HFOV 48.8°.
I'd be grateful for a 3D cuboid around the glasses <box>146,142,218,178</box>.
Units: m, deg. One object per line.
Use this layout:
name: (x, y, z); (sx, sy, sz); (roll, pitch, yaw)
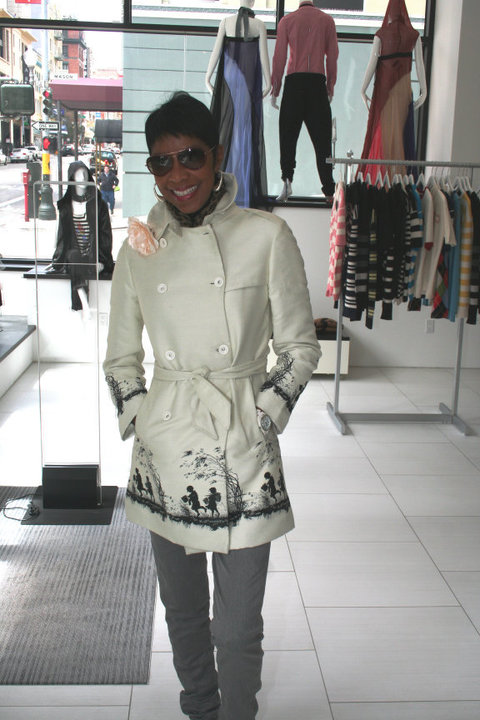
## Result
glasses: (-0.098, -0.278, 0.757); (0.108, 0.048, 0.063); (2, 4, 16)
